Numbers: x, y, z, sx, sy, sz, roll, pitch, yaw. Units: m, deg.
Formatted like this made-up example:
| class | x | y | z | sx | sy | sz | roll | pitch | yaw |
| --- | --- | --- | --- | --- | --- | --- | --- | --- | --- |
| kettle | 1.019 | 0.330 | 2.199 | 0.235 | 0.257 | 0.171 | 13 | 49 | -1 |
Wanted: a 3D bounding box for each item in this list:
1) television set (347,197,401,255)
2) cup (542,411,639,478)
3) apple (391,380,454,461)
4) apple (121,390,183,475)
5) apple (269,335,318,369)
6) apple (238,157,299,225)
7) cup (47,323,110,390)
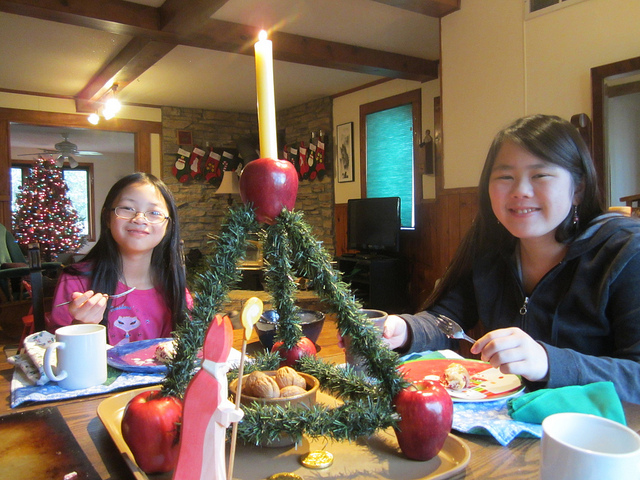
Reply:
| class | x | y | z | sx | sy | sz | roll | pitch | yaw |
| --- | --- | --- | --- | --- | --- | --- | --- | --- | --- |
| television set | 0.578 | -0.152 | 4.981 | 0.112 | 0.548 | 0.808 | -3 | 6 | -27 |
| cup | 0.381 | 0.298 | 0.648 | 0.121 | 0.068 | 0.090 | 0 | 6 | 25 |
| apple | 0.174 | 0.293 | 0.801 | 0.117 | 0.118 | 0.084 | 8 | 12 | 7 |
| apple | -0.266 | 0.307 | 0.784 | 0.092 | 0.137 | 0.112 | -1 | 7 | -5 |
| apple | -0.060 | 0.232 | 0.999 | 0.077 | 0.079 | 0.078 | 2 | -2 | 8 |
| apple | -0.081 | -0.102 | 0.770 | 0.108 | 0.116 | 0.105 | 5 | 5 | -15 |
| cup | -0.586 | 0.283 | 1.083 | 0.093 | 0.132 | 0.153 | 2 | 2 | 21 |
